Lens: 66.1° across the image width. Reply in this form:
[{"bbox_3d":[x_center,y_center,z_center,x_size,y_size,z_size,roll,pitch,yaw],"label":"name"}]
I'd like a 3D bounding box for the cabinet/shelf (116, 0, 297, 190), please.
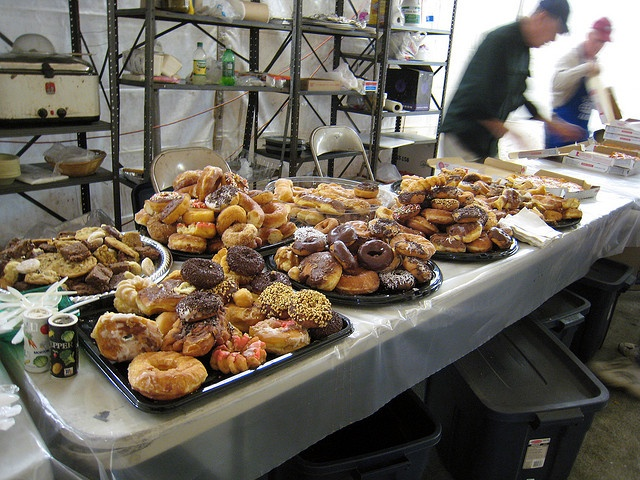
[{"bbox_3d":[-0.727,-0.936,3.044,1.324,1.260,0.441,-26,45,-38],"label":"cabinet/shelf"}]

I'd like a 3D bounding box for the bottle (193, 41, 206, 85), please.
[{"bbox_3d":[-0.727,-1.073,2.948,0.087,0.232,0.259,-4,21,-12],"label":"bottle"}]

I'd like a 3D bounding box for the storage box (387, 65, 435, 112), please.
[{"bbox_3d":[0.777,-1.343,4.308,0.373,0.357,0.202,30,41,35],"label":"storage box"}]

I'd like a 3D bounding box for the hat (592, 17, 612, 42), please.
[{"bbox_3d":[1.990,-1.493,3.455,0.144,0.160,0.086,6,21,13],"label":"hat"}]

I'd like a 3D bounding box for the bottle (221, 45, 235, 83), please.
[{"bbox_3d":[-0.575,-1.084,3.052,0.081,0.213,0.182,0,20,-1],"label":"bottle"}]

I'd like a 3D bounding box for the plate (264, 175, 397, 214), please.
[{"bbox_3d":[0.086,-0.202,1.841,0.273,0.099,0.266,6,16,17],"label":"plate"}]
